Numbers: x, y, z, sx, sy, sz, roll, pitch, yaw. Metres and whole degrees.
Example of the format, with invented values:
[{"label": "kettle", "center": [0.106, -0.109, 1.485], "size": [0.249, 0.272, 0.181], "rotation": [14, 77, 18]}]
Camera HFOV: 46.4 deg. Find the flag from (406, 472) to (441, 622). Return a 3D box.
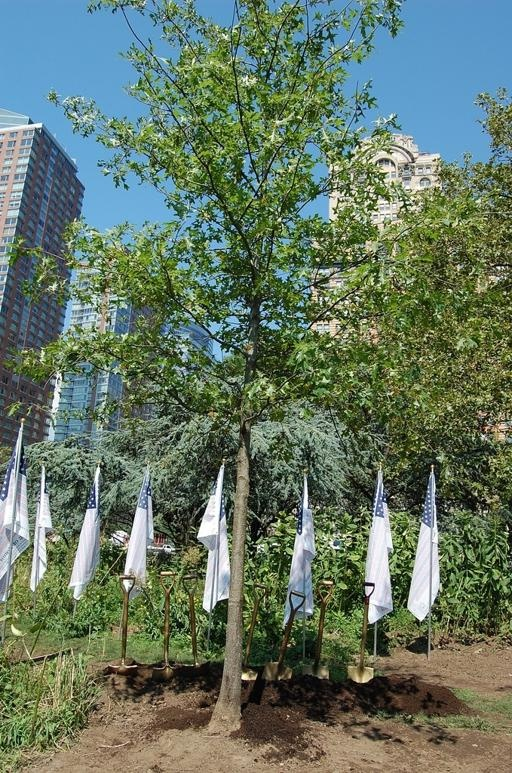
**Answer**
[{"label": "flag", "center": [2.492, 2.320, 8.732], "size": [0.409, 2.108, 0.709], "rotation": [4, -12, 1]}]
